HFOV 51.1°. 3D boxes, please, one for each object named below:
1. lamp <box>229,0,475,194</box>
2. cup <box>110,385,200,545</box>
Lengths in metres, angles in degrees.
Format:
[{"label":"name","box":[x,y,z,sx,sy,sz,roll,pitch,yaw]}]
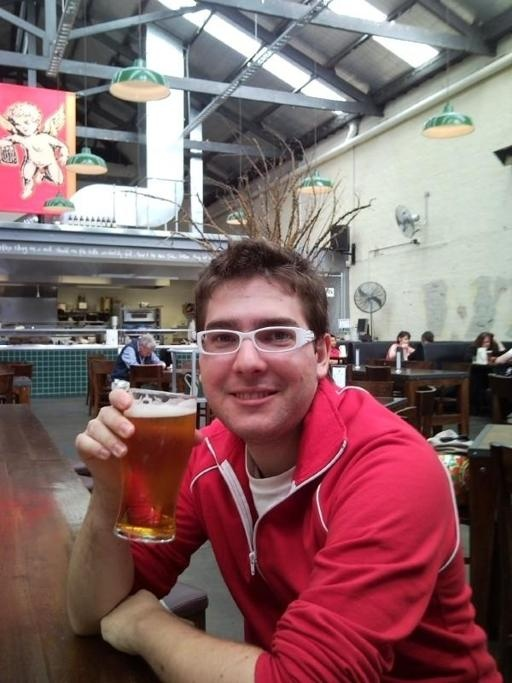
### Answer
[{"label":"lamp","box":[1.973,-4.302,8.781,2.752,0.641,2.720,2,-14,37]},{"label":"cup","box":[-0.125,0.157,0.672,0.095,0.190,0.062,2,1,-9]}]
